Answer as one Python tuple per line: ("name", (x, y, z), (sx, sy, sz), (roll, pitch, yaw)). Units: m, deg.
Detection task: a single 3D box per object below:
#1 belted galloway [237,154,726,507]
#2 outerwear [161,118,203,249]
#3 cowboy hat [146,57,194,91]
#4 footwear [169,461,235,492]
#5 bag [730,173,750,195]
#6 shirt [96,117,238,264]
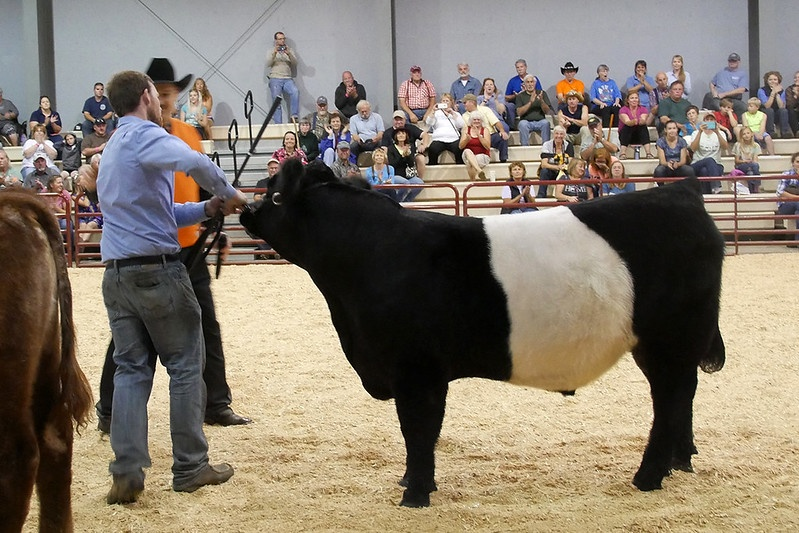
("belted galloway", (0.754, 0.786, 9.604), (3.747, 2.566, 1.264), (0, 7, 2))
("outerwear", (-2.091, -0.928, 9.816), (0.306, 1.296, 0.354), (1, 2, 32))
("cowboy hat", (-2.376, -1.934, 9.811), (0.338, 0.165, 0.405), (-3, 2, -16))
("footwear", (-1.839, 1.983, 9.210), (0.598, 0.264, 0.222), (-16, 23, -27))
("bag", (5.709, -1.385, 16.336), (0.169, 0.230, 0.525), (-20, -45, 28))
("shirt", (-2.294, -0.713, 9.281), (1.342, 1.431, 1.202), (-5, 4, -31))
